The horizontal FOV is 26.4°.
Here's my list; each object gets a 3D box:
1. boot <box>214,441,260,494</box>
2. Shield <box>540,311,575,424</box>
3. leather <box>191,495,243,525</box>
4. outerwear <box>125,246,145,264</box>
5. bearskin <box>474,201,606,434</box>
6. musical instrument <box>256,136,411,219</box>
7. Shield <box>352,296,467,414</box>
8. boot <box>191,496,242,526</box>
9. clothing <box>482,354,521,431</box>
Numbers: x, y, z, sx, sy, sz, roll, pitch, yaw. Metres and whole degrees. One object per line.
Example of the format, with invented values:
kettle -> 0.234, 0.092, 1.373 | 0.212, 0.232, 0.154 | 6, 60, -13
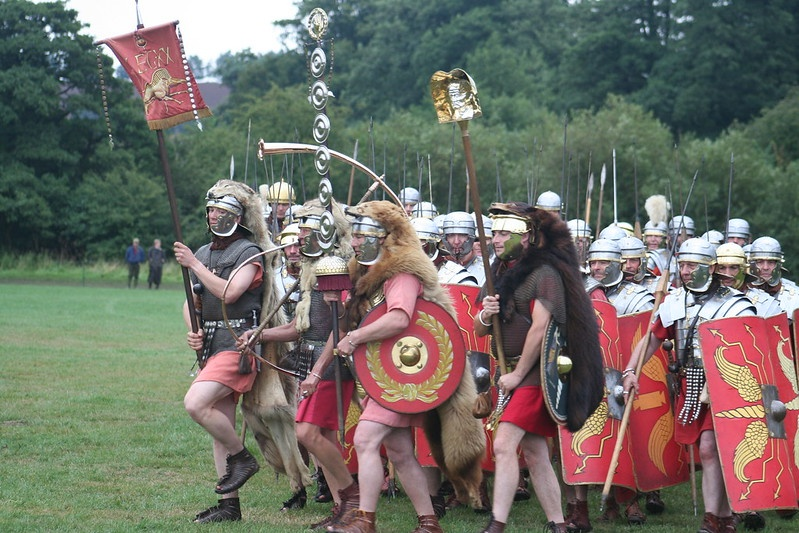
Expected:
boot -> -2.588, 3.128, 26.346 | 0.821, 0.518, 0.297 | -36, 8, -32
Shield -> 2.369, 1.556, 25.636 | 0.510, 1.586, 0.123 | 1, 0, -28
leather -> -2.786, 3.726, 26.203 | 0.909, 0.365, 0.294 | 2, -6, -5
outerwear -> -6.137, -0.327, 38.811 | 0.438, 0.432, 0.245 | 2, -7, -29
bearskin -> 2.328, 0.794, 26.587 | 1.733, 4.774, 1.263 | -6, 35, 5
musical instrument -> -1.417, -1.386, 25.538 | 2.142, 0.469, 2.156 | 8, 20, -4
Shield -> 0.155, 1.317, 25.668 | 1.326, 1.297, 0.270 | -37, -2, -3
boot -> -2.790, 3.721, 26.201 | 0.904, 0.358, 0.291 | 2, -6, -6
clothing -> 1.497, 2.039, 25.995 | 0.593, 0.905, 0.235 | 0, 6, -27
